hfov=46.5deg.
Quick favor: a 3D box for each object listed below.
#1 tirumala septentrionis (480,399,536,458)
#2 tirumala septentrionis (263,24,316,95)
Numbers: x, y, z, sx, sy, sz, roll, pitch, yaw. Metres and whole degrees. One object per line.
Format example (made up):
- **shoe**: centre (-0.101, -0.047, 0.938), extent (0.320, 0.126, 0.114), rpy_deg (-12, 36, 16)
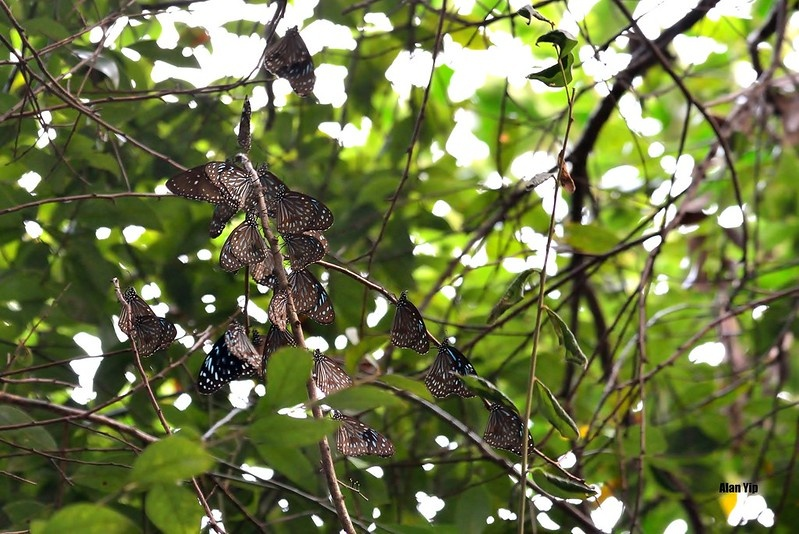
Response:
- **tirumala septentrionis**: centre (0.182, 0.283, 1.601), extent (0.090, 0.093, 0.033), rpy_deg (30, -1, 1)
- **tirumala septentrionis**: centre (-0.215, -0.400, 1.701), extent (0.119, 0.137, 0.065), rpy_deg (8, -66, -1)
